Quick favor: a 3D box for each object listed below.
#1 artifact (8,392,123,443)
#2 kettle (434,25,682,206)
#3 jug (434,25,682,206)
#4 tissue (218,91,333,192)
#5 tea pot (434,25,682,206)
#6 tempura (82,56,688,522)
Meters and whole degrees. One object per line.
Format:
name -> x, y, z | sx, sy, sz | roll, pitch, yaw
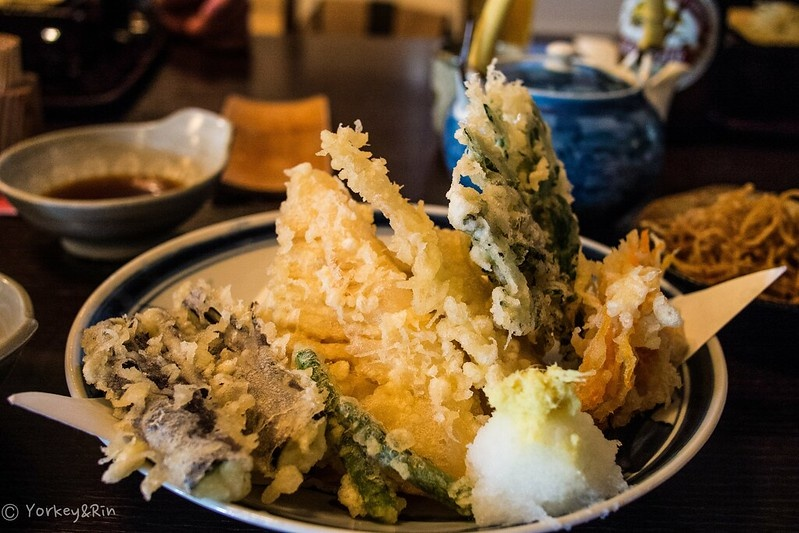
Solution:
artifact -> -0.431, 0.197, 0.949 | 0.153, 0.027, 0.033 | 24, 62, -16
kettle -> 0.283, -0.297, 1.411 | 0.388, 0.241, 0.288 | 2, 25, -2
jug -> 0.278, -0.295, 1.404 | 0.388, 0.241, 0.288 | 2, 25, -2
tissue -> -0.276, -0.285, 1.576 | 0.241, 0.087, 0.288 | 4, 41, -1
tea pot -> 0.281, -0.298, 1.410 | 0.388, 0.241, 0.288 | 2, 25, -2
tempura -> -0.007, 0.104, 0.977 | 0.668, 0.275, 0.699 | 13, 50, 7
